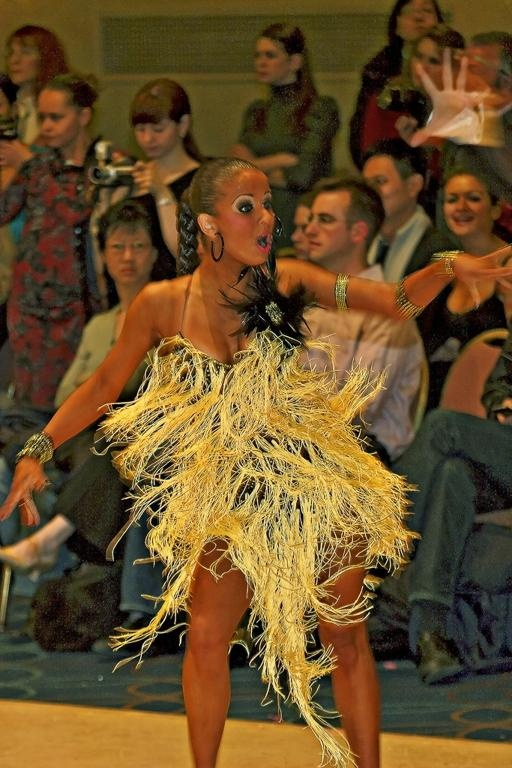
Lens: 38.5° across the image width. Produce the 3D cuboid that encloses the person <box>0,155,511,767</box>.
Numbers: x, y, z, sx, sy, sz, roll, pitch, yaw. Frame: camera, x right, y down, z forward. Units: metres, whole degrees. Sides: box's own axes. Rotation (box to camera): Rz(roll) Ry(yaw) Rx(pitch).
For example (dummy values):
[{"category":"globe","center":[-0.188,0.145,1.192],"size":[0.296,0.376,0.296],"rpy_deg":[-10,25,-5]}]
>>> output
[{"category":"person","center":[-0.014,0.133,1.222],"size":[0.803,0.995,0.330],"rpy_deg":[-1,-2,4]}]

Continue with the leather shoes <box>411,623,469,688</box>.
[{"category":"leather shoes","center":[0.475,0.723,1.932],"size":[0.146,0.063,0.174],"rpy_deg":[-3,16,22]}]
